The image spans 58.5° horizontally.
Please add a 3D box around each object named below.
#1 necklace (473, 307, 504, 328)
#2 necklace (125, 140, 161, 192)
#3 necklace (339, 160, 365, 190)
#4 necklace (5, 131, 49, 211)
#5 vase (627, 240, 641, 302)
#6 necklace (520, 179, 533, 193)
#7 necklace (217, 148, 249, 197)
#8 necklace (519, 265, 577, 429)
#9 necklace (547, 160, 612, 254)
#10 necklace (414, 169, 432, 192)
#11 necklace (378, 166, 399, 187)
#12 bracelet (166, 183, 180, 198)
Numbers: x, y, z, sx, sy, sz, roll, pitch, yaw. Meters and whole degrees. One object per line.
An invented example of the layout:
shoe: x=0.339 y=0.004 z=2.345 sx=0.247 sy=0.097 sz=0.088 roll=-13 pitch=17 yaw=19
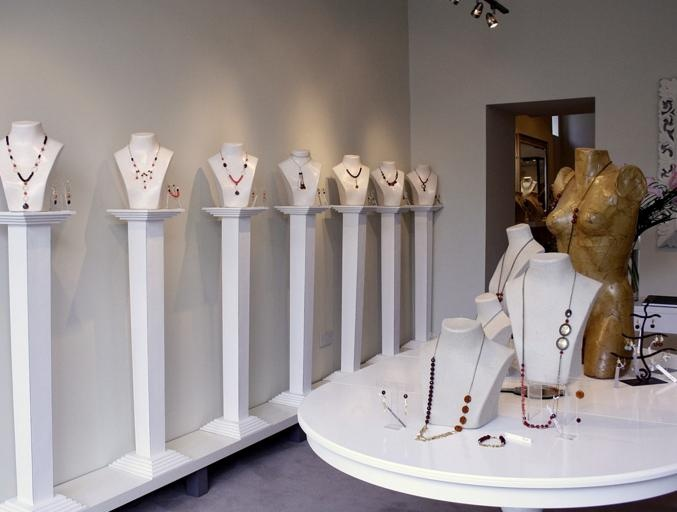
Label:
necklace: x=0.803 y=0.336 z=3.167 sx=0.116 sy=0.115 sz=0.120 roll=0 pitch=14 yaw=7
necklace: x=-1.063 y=-0.495 z=3.303 sx=0.154 sy=0.313 sz=0.031 roll=1 pitch=-25 yaw=-23
necklace: x=0.127 y=-0.614 z=4.742 sx=0.133 sy=0.153 sz=0.111 roll=-2 pitch=13 yaw=-3
necklace: x=-1.494 y=-0.383 z=2.878 sx=0.128 sy=0.447 sz=0.045 roll=0 pitch=-4 yaw=-15
vase: x=2.493 y=0.047 z=5.092 sx=0.088 sy=0.388 sz=0.086 roll=1 pitch=1 yaw=0
necklace: x=2.233 y=-0.841 z=7.148 sx=0.149 sy=0.165 sz=0.168 roll=8 pitch=53 yaw=12
necklace: x=-0.642 y=-0.526 z=3.773 sx=0.142 sy=0.286 sz=0.028 roll=-1 pitch=43 yaw=-9
necklace: x=0.963 y=0.474 z=2.799 sx=0.221 sy=0.044 sz=0.769 roll=-8 pitch=46 yaw=33
necklace: x=1.388 y=-0.249 z=3.477 sx=0.224 sy=0.526 sz=0.338 roll=12 pitch=-5 yaw=-40
necklace: x=0.810 y=-0.738 z=5.838 sx=0.244 sy=0.182 sz=0.385 roll=1 pitch=25 yaw=8
necklace: x=0.439 y=-0.683 z=5.209 sx=0.167 sy=0.153 sz=0.108 roll=-1 pitch=13 yaw=3
bracelet: x=-0.999 y=-0.396 z=3.658 sx=0.049 sy=0.080 sz=0.027 roll=-2 pitch=8 yaw=2
